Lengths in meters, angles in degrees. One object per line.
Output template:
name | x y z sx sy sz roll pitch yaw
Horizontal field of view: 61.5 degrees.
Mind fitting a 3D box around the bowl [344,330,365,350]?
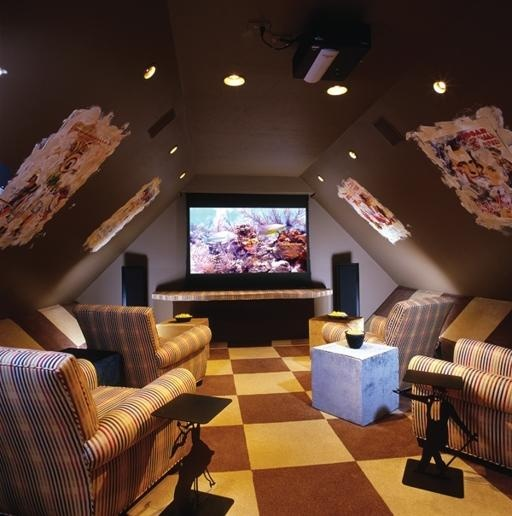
bowl | 0.812 0.671 3.553 0.157 0.099 0.141 0 -1 12

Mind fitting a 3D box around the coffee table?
coffee table | 0.749 0.980 3.541 0.635 0.555 0.909 -1 -2 -17

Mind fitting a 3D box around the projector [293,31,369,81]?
projector | 0.493 -1.330 2.863 0.383 0.145 0.523 -1 0 -6
